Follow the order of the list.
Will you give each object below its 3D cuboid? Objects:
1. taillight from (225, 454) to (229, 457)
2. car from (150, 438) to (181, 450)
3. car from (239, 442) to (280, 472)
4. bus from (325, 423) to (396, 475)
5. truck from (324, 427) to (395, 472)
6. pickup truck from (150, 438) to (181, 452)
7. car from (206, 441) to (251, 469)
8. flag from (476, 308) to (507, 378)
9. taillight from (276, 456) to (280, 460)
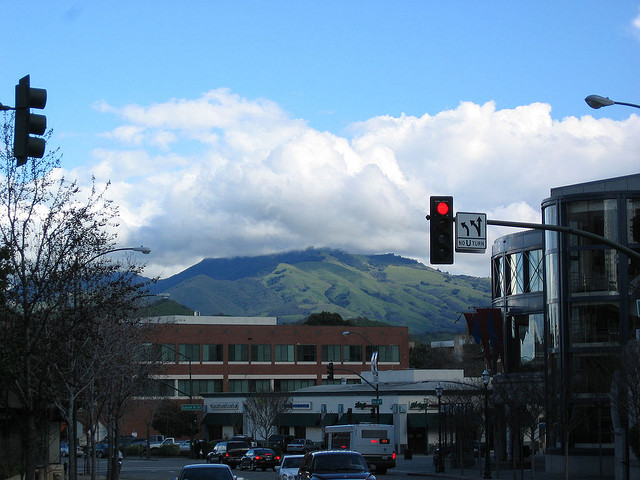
[{"bbox_3d":[-7.274,17.101,96.101,0.248,0.195,0.109,-1,2,-5],"label":"taillight"},{"bbox_3d":[-15.970,20.721,123.752,1.874,1.102,1.178,4,-7,-8],"label":"car"},{"bbox_3d":[-4.596,17.035,93.629,3.044,1.708,1.938,0,3,30],"label":"car"},{"bbox_3d":[3.290,14.976,84.172,3.297,3.661,5.942,1,-3,-20],"label":"bus"},{"bbox_3d":[3.316,14.983,83.846,3.167,3.483,5.635,1,-2,-21],"label":"truck"},{"bbox_3d":[-15.921,20.719,123.231,2.082,1.221,1.319,3,-10,-6],"label":"pickup truck"},{"bbox_3d":[-7.114,17.494,96.566,2.115,2.148,4.696,2,-4,-24],"label":"car"},{"bbox_3d":[13.341,7.806,94.510,2.154,4.956,1.930,-1,2,-9],"label":"flag"},{"bbox_3d":[-3.198,16.817,93.461,0.212,0.183,0.130,1,-10,-11],"label":"taillight"}]
